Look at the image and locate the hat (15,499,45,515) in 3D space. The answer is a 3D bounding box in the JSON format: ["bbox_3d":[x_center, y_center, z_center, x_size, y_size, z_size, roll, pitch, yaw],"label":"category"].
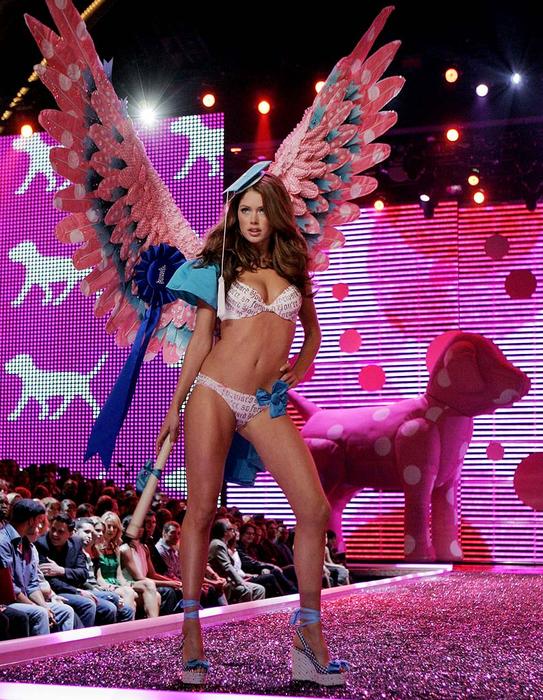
[{"bbox_3d":[-1.034,0.674,2.944,0.101,0.049,0.074,15,0,1],"label":"hat"}]

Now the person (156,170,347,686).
[{"bbox_3d":[-0.049,0.118,1.575,0.402,1.115,0.416,5,-11,-8],"label":"person"}]

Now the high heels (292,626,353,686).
[{"bbox_3d":[0.095,0.613,1.347,0.112,0.076,0.130,2,-9,3],"label":"high heels"}]
